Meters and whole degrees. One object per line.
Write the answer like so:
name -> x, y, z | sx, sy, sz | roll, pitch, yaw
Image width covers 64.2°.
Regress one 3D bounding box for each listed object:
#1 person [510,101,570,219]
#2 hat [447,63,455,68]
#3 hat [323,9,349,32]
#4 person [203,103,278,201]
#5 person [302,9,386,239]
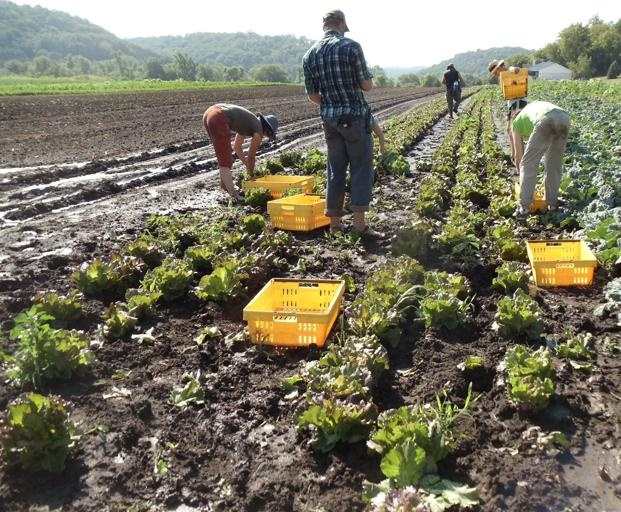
person -> 3.356, -1.390, 7.209 | 0.679, 1.616, 0.694 | 2, 17, 25
hat -> 5.877, -7.993, 20.748 | 0.244, 0.143, 0.317 | 0, 2, 16
hat -> 0.309, -2.989, 6.358 | 0.317, 0.260, 0.234 | -8, 16, -8
person -> -1.226, -1.878, 8.847 | 0.967, 1.608, 1.335 | -1, 17, 16
person -> 0.410, -1.635, 6.553 | 0.838, 2.973, 0.479 | 3, 17, 27
